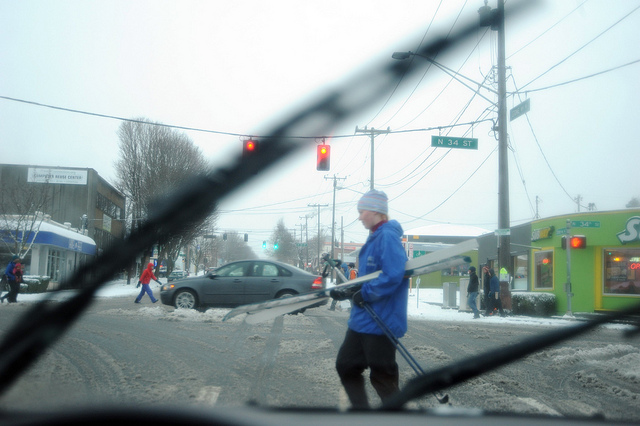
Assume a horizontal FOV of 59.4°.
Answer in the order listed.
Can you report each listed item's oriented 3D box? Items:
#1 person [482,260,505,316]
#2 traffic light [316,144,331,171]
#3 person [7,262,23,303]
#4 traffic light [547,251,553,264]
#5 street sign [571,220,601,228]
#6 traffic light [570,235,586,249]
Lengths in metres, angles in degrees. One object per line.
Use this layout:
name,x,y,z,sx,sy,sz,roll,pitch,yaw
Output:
person,5.668,2.583,18.276,0.660,1.595,1.054,1,-4,18
traffic light,0.081,-1.403,13.885,0.304,0.610,0.789,3,-4,-3
person,-8.378,1.907,15.401,0.344,1.049,2.280,4,-4,-27
traffic light,9.120,1.803,22.277,0.057,0.541,0.383,8,-16,-24
street sign,9.387,0.374,19.801,0.824,0.270,1.112,0,-5,34
traffic light,8.059,0.941,17.585,0.613,0.447,0.346,0,-8,3
